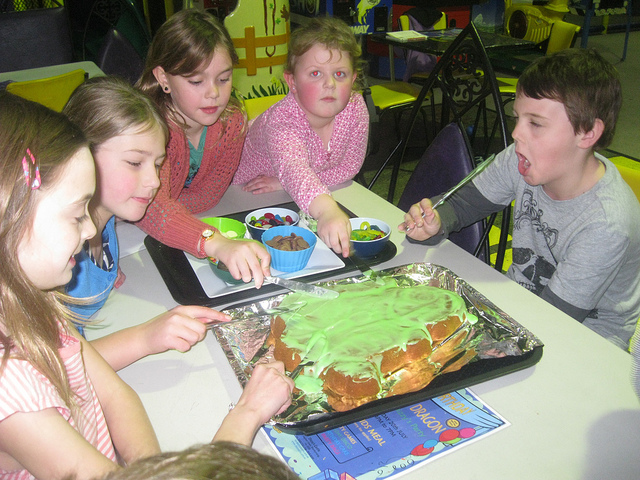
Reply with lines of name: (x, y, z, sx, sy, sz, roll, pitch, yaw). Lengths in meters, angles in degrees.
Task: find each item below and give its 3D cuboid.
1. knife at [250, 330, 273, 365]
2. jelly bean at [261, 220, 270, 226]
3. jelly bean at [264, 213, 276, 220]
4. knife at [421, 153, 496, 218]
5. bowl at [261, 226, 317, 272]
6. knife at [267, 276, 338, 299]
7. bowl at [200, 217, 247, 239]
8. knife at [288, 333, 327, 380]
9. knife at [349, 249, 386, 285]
knife: (-0.144, 0.271, 1.216, 0.019, 0.051, 0.037, 45, -16, -27)
jelly bean: (-0.180, -0.055, 1.590, 0.015, 0.005, 0.017, 11, 35, 12)
jelly bean: (-0.171, -0.082, 1.651, 0.038, 0.019, 0.019, 17, 17, 4)
knife: (0.535, -0.206, 1.879, 0.043, 0.362, 0.044, 45, 11, -4)
bowl: (-0.118, 0.047, 1.526, 0.165, 0.096, 0.170, 1, -6, 0)
knife: (-0.057, 0.138, 1.392, 0.202, 0.029, 0.009, 14, -10, 3)
bowl: (-0.309, -0.049, 1.621, 0.087, 0.031, 0.090, 12, 26, -6)
knife: (-0.023, 0.285, 1.256, 0.033, 0.030, 0.204, 14, 35, 20)
knife: (0.137, 0.079, 1.514, 0.037, 0.017, 0.349, -20, 22, -4)
